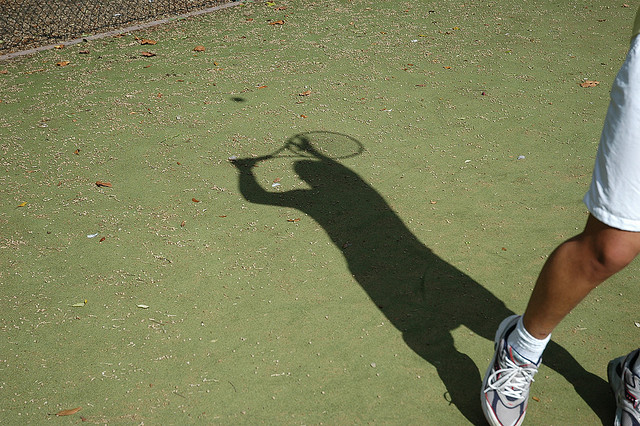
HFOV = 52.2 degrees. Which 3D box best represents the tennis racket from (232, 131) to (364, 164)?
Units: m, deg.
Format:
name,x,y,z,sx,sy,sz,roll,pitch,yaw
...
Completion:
name,x,y,z,sx,sy,sz,roll,pitch,yaw
tennis racket,-0.199,-0.633,6.045,1.138,0.021,0.383,-9,41,-10
